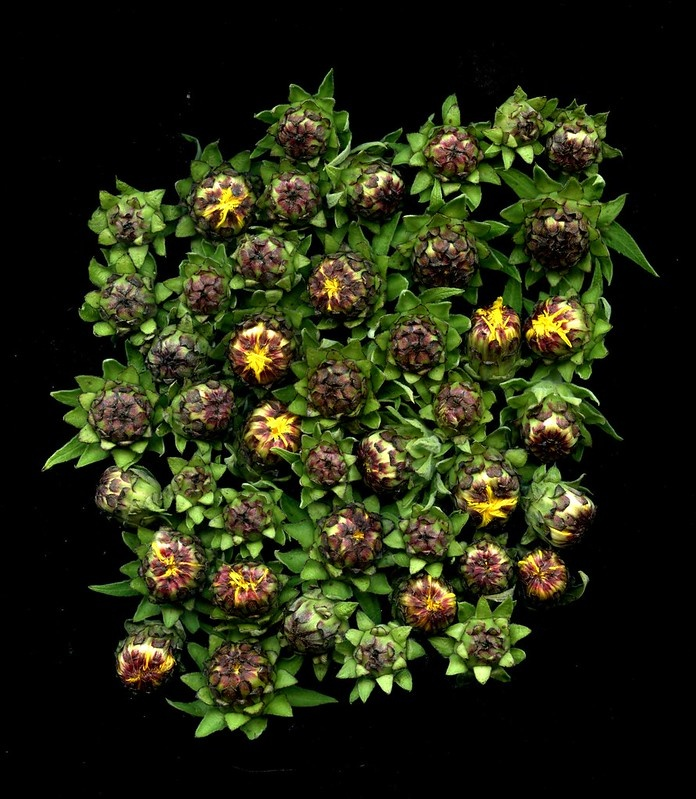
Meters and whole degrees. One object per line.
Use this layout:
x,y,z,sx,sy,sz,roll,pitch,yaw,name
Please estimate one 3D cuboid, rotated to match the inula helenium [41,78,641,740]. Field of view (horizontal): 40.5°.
-0.012,0.001,2.954,1.675,1.947,0.574,-4,1,12,inula helenium
